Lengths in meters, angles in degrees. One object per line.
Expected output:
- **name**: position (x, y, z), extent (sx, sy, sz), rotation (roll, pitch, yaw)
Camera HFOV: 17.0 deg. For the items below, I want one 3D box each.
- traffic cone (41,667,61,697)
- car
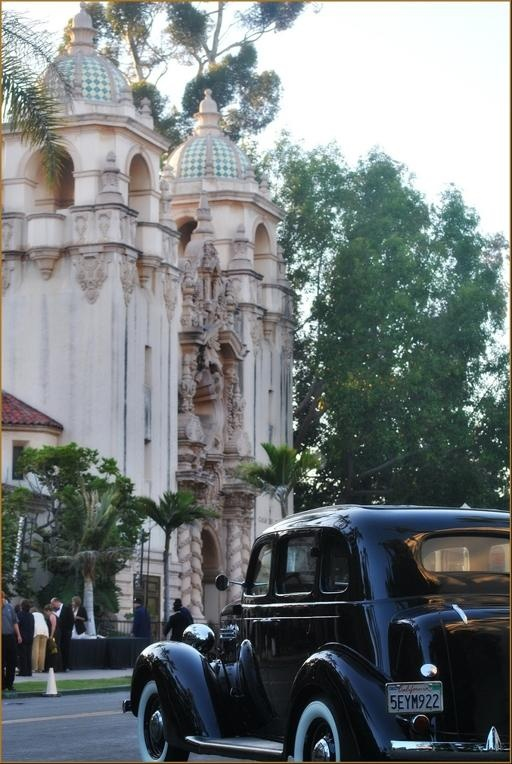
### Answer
- **traffic cone**: position (-2.851, 4.177, 23.737), extent (0.360, 0.554, 0.379), rotation (-1, -2, -8)
- **car**: position (0.657, 1.788, 12.390), extent (1.319, 1.857, 3.316), rotation (6, -12, -30)
